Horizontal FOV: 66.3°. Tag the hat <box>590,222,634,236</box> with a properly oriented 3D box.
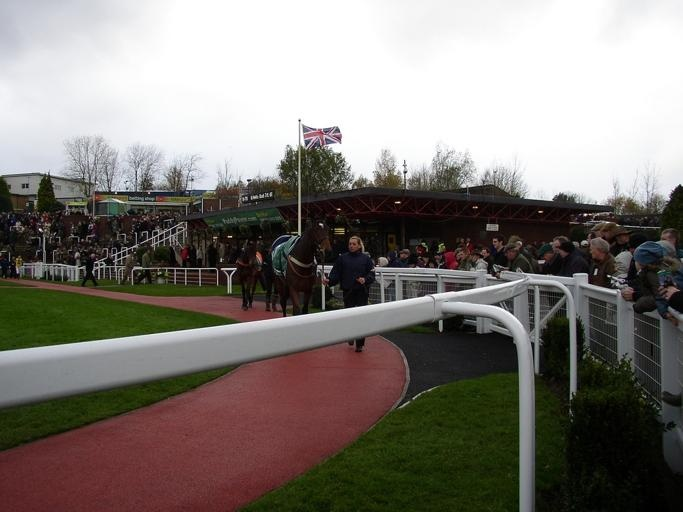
[{"bbox_3d":[4.223,-0.407,8.121,0.435,0.165,0.433,-2,4,-40],"label":"hat"}]

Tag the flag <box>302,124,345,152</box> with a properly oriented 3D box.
[{"bbox_3d":[-0.969,-5.394,23.664,1.663,1.152,3.871,-1,4,-5],"label":"flag"}]

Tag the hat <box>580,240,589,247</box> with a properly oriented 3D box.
[{"bbox_3d":[4.591,-0.268,9.875,0.122,0.074,0.192,-3,-15,11],"label":"hat"}]

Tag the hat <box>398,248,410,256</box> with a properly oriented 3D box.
[{"bbox_3d":[2.304,-0.138,19.481,0.227,0.218,0.278,-6,40,34],"label":"hat"}]
